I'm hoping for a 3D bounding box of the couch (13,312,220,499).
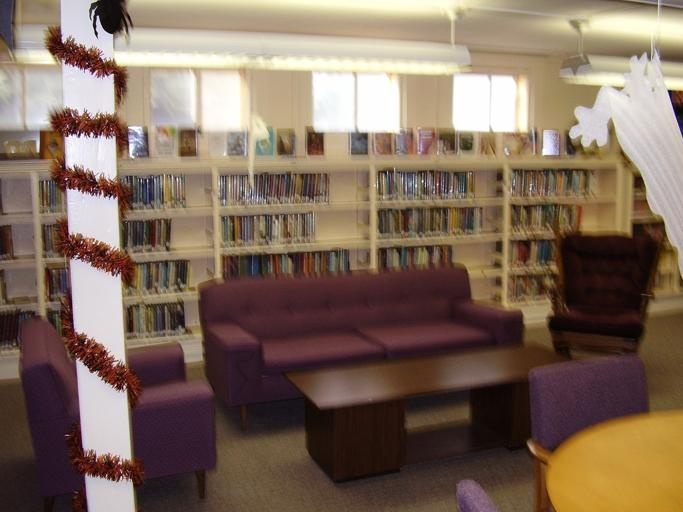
[{"bbox_3d":[-1.303,0.852,3.340,0.940,0.940,1.106,-7,9,-27],"label":"couch"}]

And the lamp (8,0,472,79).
[{"bbox_3d":[-0.291,-1.340,3.736,2.206,0.303,0.251,-6,9,-14],"label":"lamp"}]
